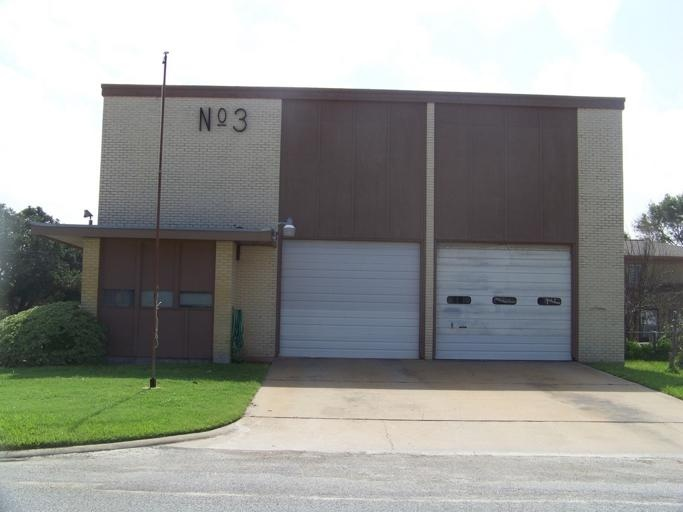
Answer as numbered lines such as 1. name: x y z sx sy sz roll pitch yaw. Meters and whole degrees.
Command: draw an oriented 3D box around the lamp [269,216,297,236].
1. lamp: -1.970 -0.991 26.239 1.023 0.713 0.612 0 1 -1
